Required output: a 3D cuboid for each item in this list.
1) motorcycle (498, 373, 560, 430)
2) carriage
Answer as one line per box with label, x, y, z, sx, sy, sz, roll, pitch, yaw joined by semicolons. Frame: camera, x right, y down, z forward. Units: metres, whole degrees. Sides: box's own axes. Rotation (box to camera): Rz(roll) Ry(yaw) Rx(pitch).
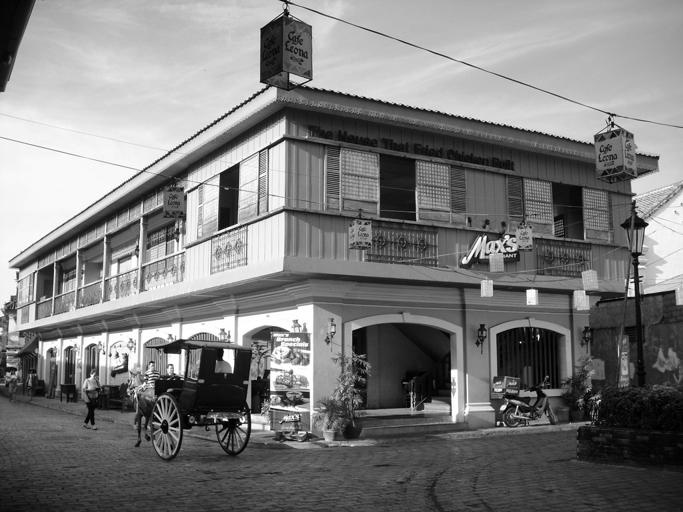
motorcycle;6.245;4.973;28.736;2.182;1.613;0.663;11;-13;-30
carriage;-4.121;3.722;22.559;2.104;3.101;3.681;6;-9;-44
